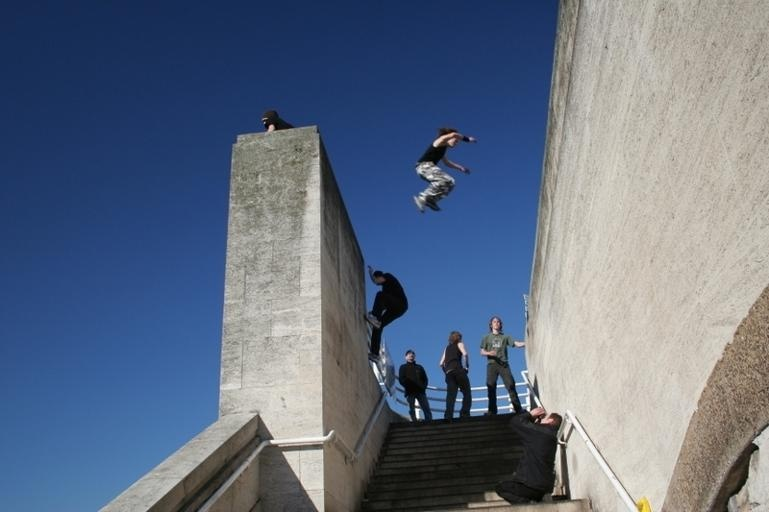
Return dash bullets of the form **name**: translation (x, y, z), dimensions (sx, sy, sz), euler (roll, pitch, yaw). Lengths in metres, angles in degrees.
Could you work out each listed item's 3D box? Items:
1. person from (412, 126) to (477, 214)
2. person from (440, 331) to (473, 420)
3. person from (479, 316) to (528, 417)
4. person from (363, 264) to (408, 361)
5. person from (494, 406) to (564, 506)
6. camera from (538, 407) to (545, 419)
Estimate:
- **person**: translation (0.798, -1.170, 8.400), dimensions (0.824, 1.151, 0.564), euler (-1, -6, 5)
- **person**: translation (1.041, 1.778, 9.298), dimensions (0.398, 1.466, 0.953), euler (-6, 5, 5)
- **person**: translation (1.745, 1.679, 9.301), dimensions (0.543, 1.518, 1.024), euler (-5, 5, 8)
- **person**: translation (-0.042, 0.726, 8.128), dimensions (0.740, 0.959, 1.220), euler (0, 15, 10)
- **person**: translation (1.570, 2.235, 6.680), dimensions (0.532, 1.071, 0.971), euler (-3, 6, 28)
- **camera**: translation (1.788, 1.789, 7.217), dimensions (0.118, 0.112, 0.032), euler (-7, 11, 28)
